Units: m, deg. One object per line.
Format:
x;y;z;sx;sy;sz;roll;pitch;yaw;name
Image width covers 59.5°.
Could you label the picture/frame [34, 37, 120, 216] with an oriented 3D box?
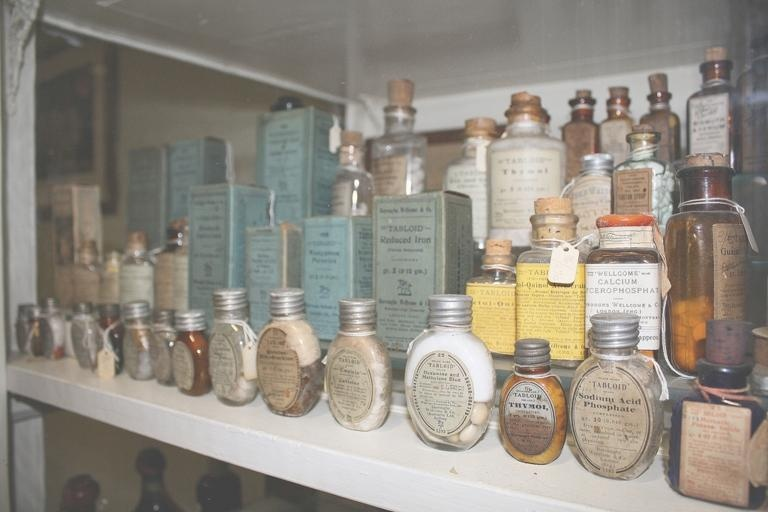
-0.797;-0.309;1.657;0.026;0.361;0.218;34;38;27;picture/frame
